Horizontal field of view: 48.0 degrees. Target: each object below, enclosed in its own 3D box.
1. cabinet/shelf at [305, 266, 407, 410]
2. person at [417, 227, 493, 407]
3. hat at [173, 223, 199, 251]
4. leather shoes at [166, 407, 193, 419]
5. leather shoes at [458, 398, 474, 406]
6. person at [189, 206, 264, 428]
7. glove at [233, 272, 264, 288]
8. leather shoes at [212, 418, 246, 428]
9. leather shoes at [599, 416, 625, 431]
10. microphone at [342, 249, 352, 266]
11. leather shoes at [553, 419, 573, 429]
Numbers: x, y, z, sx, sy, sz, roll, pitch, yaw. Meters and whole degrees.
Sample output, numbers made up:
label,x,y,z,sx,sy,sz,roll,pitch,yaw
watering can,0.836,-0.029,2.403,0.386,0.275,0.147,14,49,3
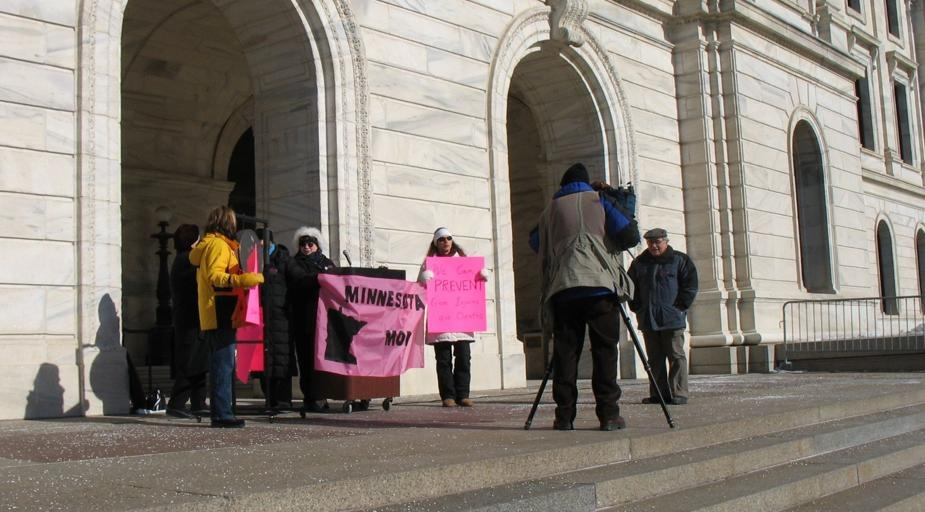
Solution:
label,x,y,z,sx,sy,sz,roll,pitch,yaw
cabinet/shelf,-1.877,1.285,17.830,1.589,2.489,1.471,9,-6,17
person,-0.279,1.027,18.119,0.915,3.172,0.793,-1,-10,2
hat,-4.584,-0.301,17.571,0.384,0.452,0.477,6,2,-8
leather shoes,-4.605,2.568,16.851,0.502,0.190,0.162,1,-7,6
leather shoes,0.066,2.490,17.687,0.244,0.140,0.177,-3,-10,15
person,-3.644,0.920,15.749,0.943,3.340,0.673,1,-10,-8
glove,-3.236,0.362,15.617,0.345,0.125,0.251,8,6,28
leather shoes,-3.541,2.549,15.742,0.443,0.177,0.177,-2,-1,-5
leather shoes,2.151,2.400,14.858,0.397,0.164,0.154,-4,3,-32
microphone,-2.101,0.042,18.791,0.084,0.298,0.087,-9,21,31
leather shoes,1.446,2.426,14.938,0.199,0.116,0.146,0,-5,8
